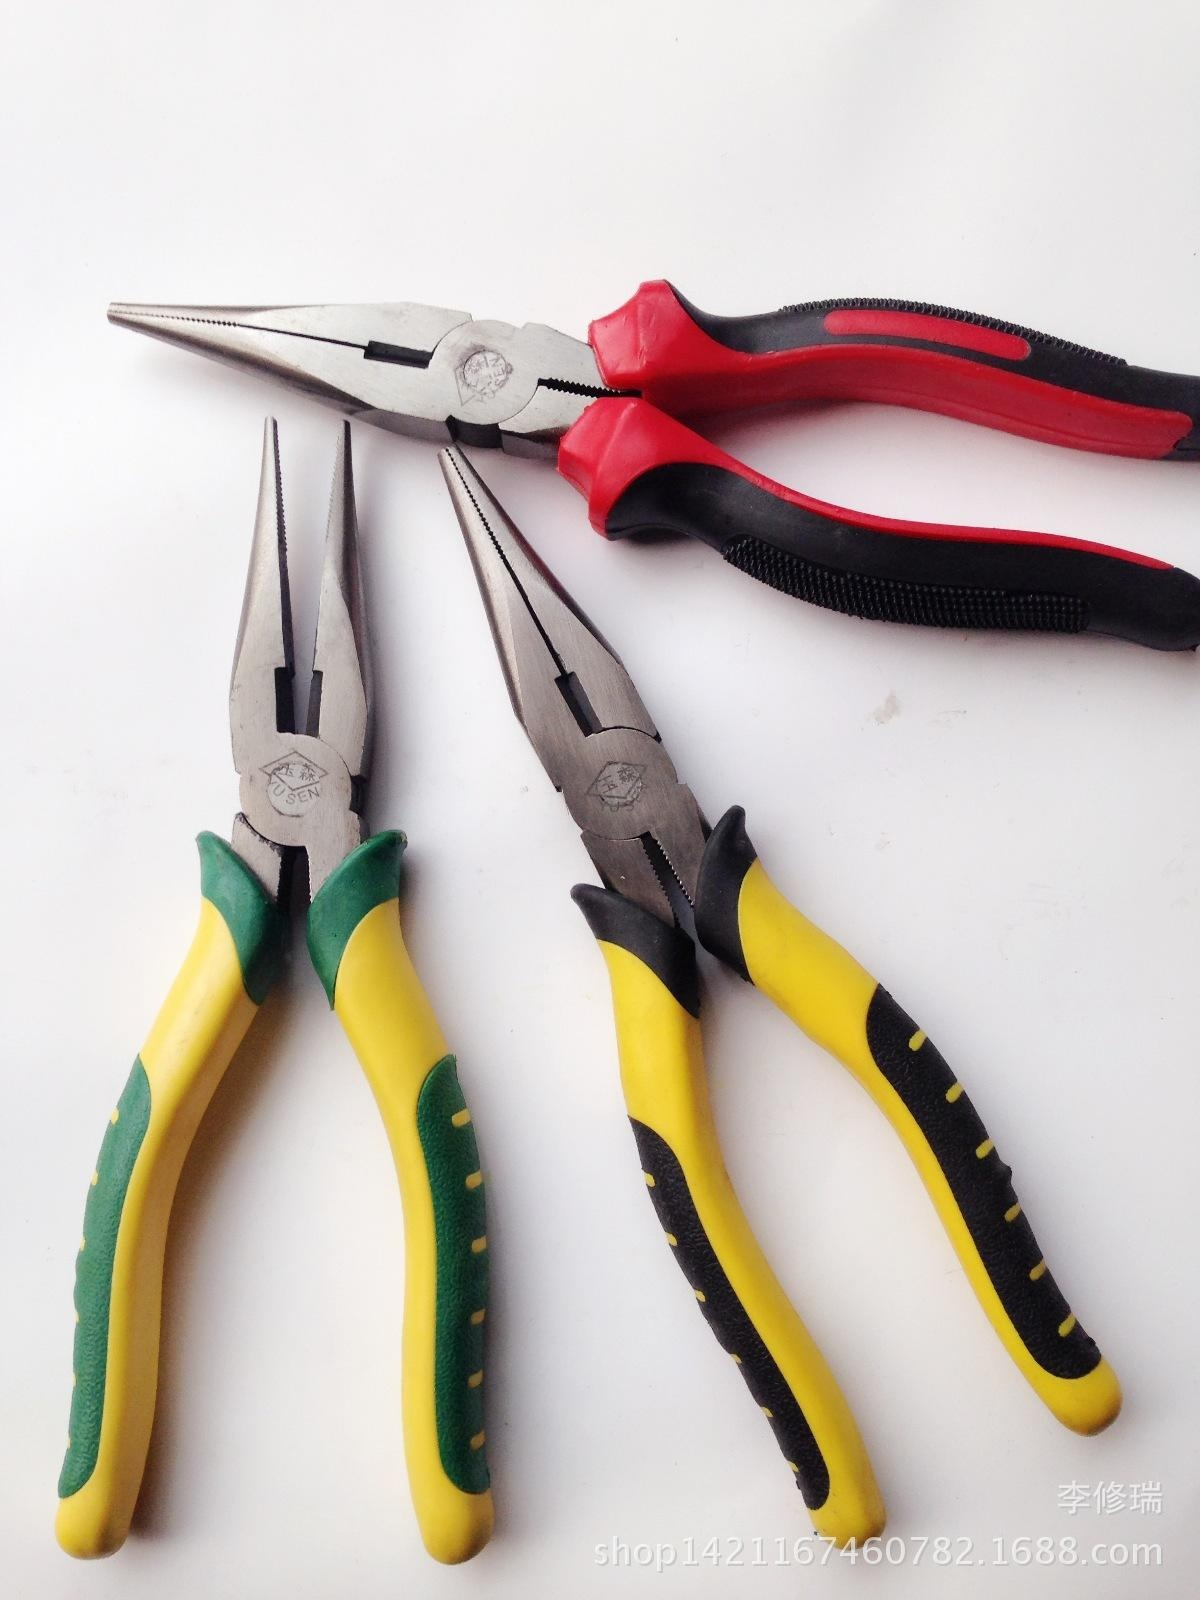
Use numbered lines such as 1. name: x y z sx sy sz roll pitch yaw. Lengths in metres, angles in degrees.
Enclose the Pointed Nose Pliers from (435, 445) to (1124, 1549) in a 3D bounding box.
1. Pointed Nose Pliers: 0.091 0.139 1.180 0.222 0.088 0.800 -24 76 -1
